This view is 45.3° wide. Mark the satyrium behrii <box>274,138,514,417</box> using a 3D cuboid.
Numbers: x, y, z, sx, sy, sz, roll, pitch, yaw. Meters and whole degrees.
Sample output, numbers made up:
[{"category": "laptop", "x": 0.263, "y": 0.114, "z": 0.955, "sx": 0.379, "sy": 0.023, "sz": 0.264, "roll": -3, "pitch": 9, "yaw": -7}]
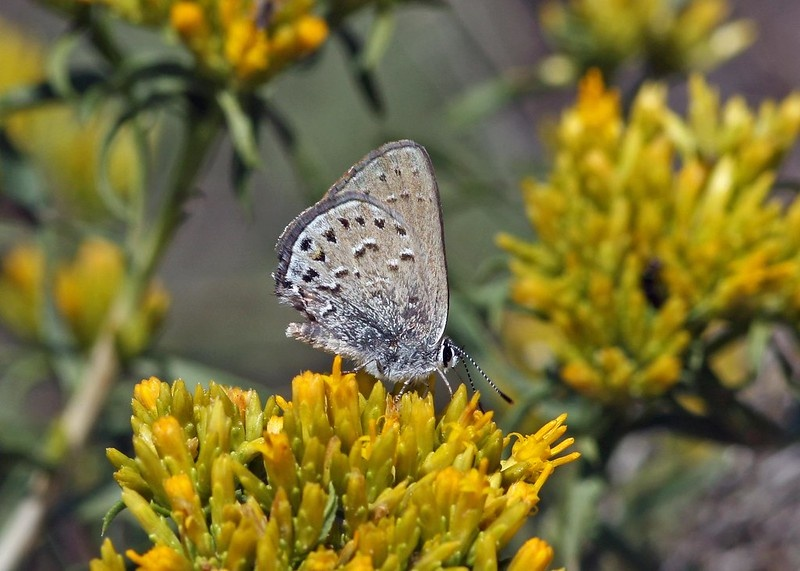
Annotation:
[{"category": "satyrium behrii", "x": -0.015, "y": -0.031, "z": 1.571, "sx": 0.446, "sy": 0.376, "sz": 0.390, "roll": 15, "pitch": 6, "yaw": 37}]
